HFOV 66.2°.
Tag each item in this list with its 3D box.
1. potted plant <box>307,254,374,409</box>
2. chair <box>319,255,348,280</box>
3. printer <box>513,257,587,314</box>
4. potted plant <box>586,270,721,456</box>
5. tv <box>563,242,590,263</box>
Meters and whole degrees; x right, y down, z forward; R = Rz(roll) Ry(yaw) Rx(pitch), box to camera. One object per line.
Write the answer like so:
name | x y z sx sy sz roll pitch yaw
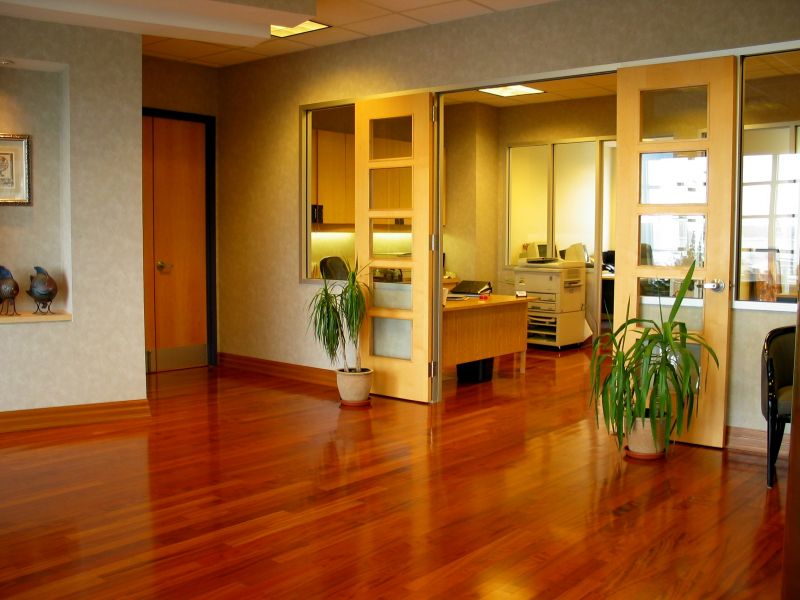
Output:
potted plant | -0.581 0.273 6.088 0.590 1.350 0.964 0 5 -8
chair | -0.698 -0.353 6.456 0.252 0.320 0.244 4 7 36
printer | 2.208 -0.201 9.067 0.665 0.826 0.844 -6 6 -27
potted plant | 1.819 0.428 4.368 0.830 1.376 1.036 2 5 21
tv | 2.702 -0.738 9.418 0.312 0.324 0.258 5 4 39
